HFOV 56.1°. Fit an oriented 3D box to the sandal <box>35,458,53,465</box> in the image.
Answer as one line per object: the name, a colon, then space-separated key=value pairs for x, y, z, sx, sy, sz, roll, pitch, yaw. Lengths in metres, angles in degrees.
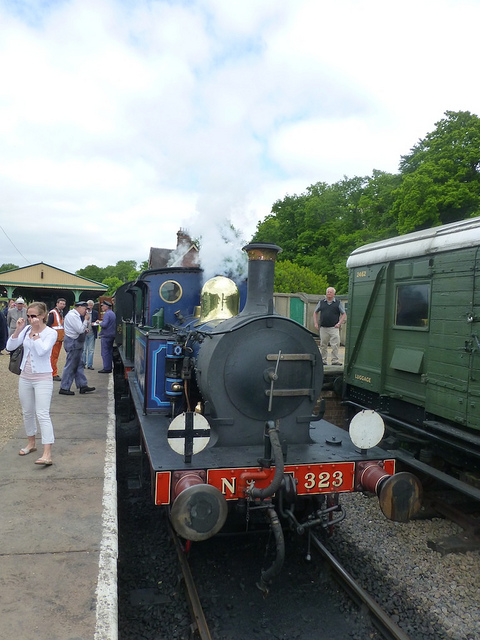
sandal: x=-1.922 y=1.397 z=4.466 sx=0.060 sy=0.044 sz=0.141 roll=-4 pitch=-14 yaw=19

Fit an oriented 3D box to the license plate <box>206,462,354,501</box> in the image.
license plate: x=0.391 y=1.060 z=3.208 sx=0.881 sy=0.333 sz=0.365 roll=4 pitch=1 yaw=-18

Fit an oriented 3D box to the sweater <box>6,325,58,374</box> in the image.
sweater: x=-1.993 y=0.284 z=4.568 sx=0.568 sy=0.645 sz=0.456 roll=0 pitch=-4 yaw=38

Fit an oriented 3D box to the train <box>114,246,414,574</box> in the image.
train: x=-0.359 y=0.546 z=5.389 sx=1.941 sy=2.465 sz=5.294 roll=3 pitch=2 yaw=-17

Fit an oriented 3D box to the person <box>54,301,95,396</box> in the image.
person: x=-2.822 y=0.520 z=7.824 sx=0.608 sy=1.701 sz=1.507 roll=3 pitch=-1 yaw=-21

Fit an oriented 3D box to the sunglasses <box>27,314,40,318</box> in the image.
sunglasses: x=-1.979 y=-0.042 z=4.307 sx=0.116 sy=0.033 sz=0.050 roll=3 pitch=-1 yaw=0
